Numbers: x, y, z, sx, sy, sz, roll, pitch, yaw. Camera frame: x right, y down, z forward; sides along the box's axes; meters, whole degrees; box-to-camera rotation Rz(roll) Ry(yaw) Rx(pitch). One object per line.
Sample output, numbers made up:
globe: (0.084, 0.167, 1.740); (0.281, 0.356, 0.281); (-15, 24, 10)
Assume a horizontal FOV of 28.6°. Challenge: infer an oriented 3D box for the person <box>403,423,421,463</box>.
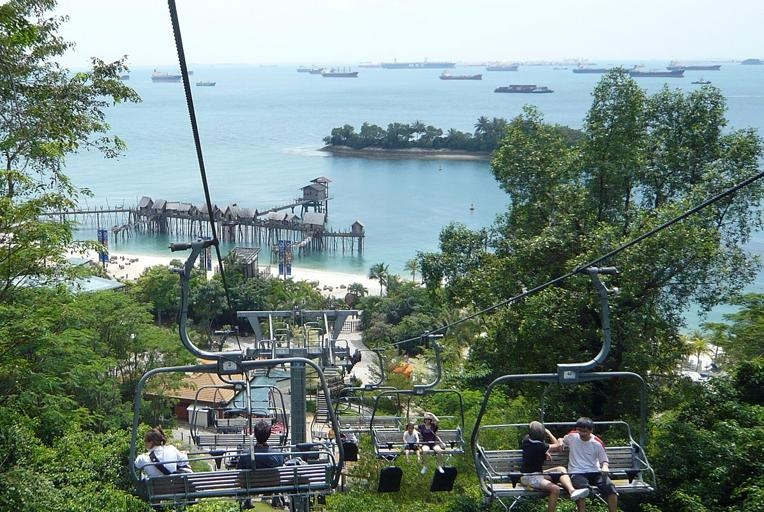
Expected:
person: (1.950, 12.217, 99.041); (1.139, 2.560, 0.906); (0, 4, 0)
